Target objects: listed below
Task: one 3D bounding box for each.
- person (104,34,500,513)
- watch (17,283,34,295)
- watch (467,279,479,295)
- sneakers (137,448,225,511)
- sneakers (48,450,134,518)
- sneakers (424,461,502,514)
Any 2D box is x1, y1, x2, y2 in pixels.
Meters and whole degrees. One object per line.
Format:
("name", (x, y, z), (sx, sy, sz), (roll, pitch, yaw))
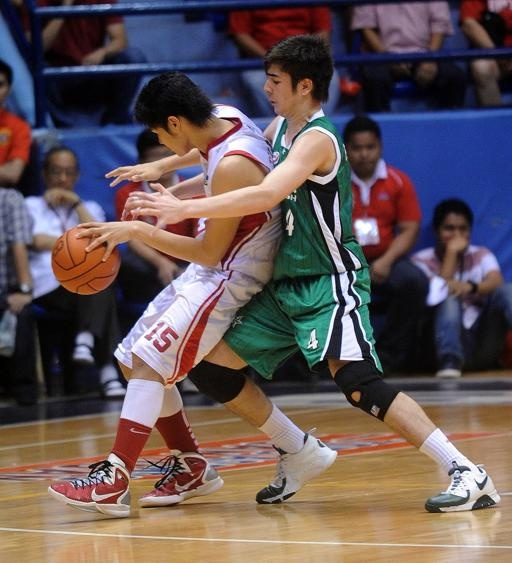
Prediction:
("person", (0.110, -0.029, 2.091), (0.799, 1.465, 0.878), (-1, 0, -25))
("watch", (-1.866, 0.060, 5.417), (0.103, 0.088, 0.065), (-1, 0, -9))
("watch", (1.537, 0.042, 4.766), (0.073, 0.034, 0.088), (10, -30, 37))
("sneakers", (-0.276, 0.667, 2.276), (0.310, 0.147, 0.099), (-4, -10, -36))
("sneakers", (-0.475, 0.589, 1.942), (0.265, 0.158, 0.088), (23, -34, -34))
("sneakers", (0.559, 0.564, 1.846), (0.263, 0.112, 0.092), (-1, 0, -37))
